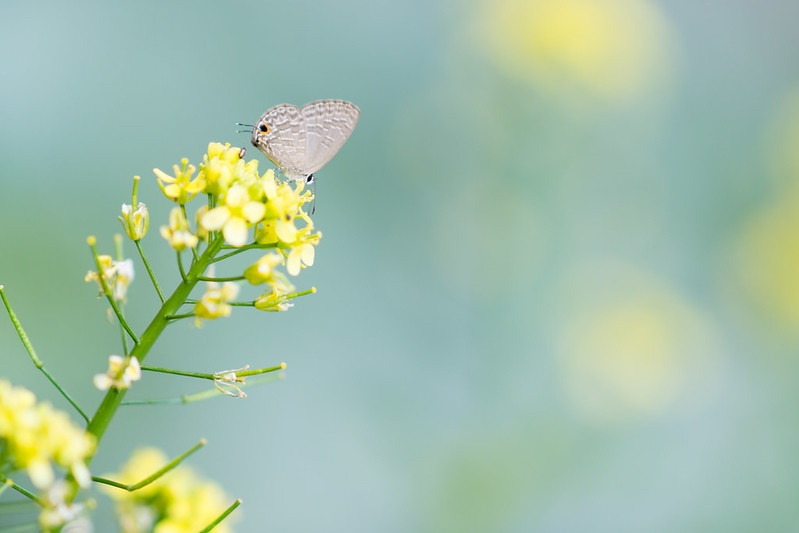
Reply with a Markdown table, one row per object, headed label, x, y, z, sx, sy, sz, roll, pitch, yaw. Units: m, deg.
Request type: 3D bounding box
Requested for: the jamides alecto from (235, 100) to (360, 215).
| label | x | y | z | sx | sy | sz | roll | pitch | yaw |
| --- | --- | --- | --- | --- | --- | --- | --- | --- | --- |
| jamides alecto | -0.294 | -0.398 | 2.512 | 0.271 | 0.355 | 0.355 | -49 | -1 | 1 |
